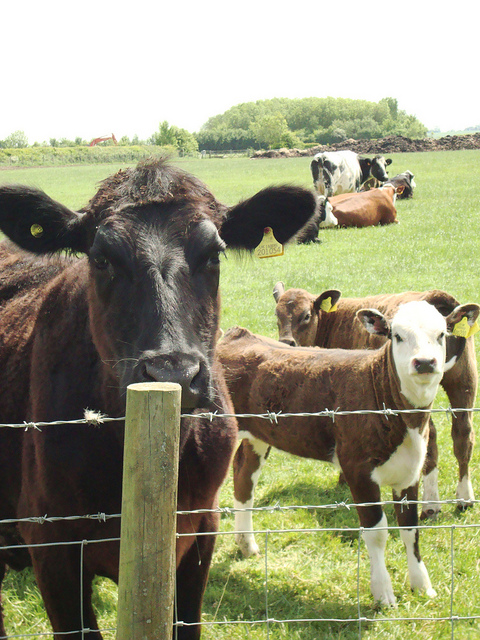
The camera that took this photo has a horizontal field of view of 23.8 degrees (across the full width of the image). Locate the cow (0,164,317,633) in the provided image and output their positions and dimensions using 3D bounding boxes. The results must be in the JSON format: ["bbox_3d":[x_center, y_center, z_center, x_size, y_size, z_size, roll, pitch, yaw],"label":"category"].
[{"bbox_3d":[-0.751,0.471,6.384,1.494,2.634,1.794,-1,7,16],"label":"cow"}]

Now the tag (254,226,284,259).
[{"bbox_3d":[0.180,-0.487,7.004,0.154,0.203,0.037,-6,32,-12],"label":"tag"}]

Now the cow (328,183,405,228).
[{"bbox_3d":[2.784,-2.568,25.540,0.746,1.123,2.160,14,18,43],"label":"cow"}]

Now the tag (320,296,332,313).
[{"bbox_3d":[0.848,-0.161,11.080,0.075,0.128,0.136,12,28,-7],"label":"tag"}]

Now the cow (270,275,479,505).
[{"bbox_3d":[1.087,0.358,10.697,0.928,2.266,3.282,-1,7,-27],"label":"cow"}]

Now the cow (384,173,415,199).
[{"bbox_3d":[4.384,-3.746,31.692,0.449,0.780,1.354,5,12,23],"label":"cow"}]

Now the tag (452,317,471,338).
[{"bbox_3d":[1.630,0.043,8.369,0.091,0.150,0.011,17,19,-2],"label":"tag"}]
